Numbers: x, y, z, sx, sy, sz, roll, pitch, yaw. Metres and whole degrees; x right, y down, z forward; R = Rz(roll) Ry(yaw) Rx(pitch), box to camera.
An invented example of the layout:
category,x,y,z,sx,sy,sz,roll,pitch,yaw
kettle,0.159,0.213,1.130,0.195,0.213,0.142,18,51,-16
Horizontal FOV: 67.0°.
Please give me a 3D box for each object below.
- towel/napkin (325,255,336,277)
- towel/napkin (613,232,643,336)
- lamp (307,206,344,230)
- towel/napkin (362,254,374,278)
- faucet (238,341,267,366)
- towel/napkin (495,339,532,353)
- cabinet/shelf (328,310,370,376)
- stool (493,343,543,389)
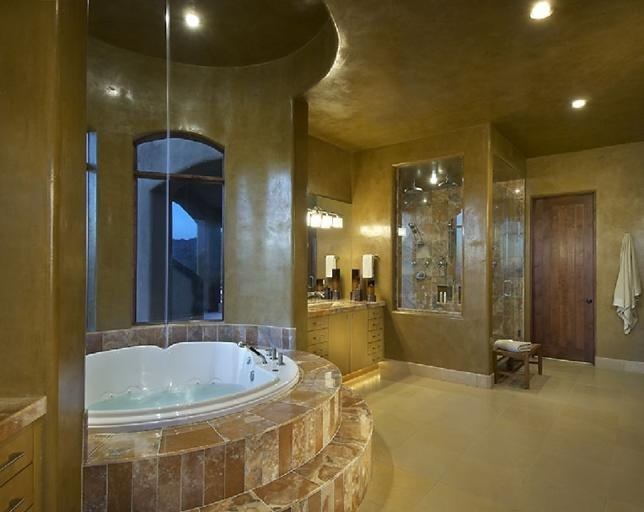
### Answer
category,x,y,z,sx,sy,sz,roll,pitch,yaw
towel/napkin,0.097,0.127,5.898,0.162,0.274,0.032,-4,6,-41
towel/napkin,3.703,0.352,5.924,0.267,1.232,0.199,2,5,20
lamp,0.049,-0.448,5.877,0.138,0.265,0.748,2,5,27
towel/napkin,0.569,0.141,6.106,0.156,0.313,0.161,1,5,17
faucet,-0.568,0.796,4.067,0.338,0.158,0.120,12,8,27
towel/napkin,2.149,1.007,5.489,0.380,0.089,0.285,3,6,31
cabinet/shelf,0.271,0.923,5.223,0.252,0.717,0.706,-2,-3,26
stool,2.215,1.136,5.520,0.433,0.397,0.696,-3,-4,31
